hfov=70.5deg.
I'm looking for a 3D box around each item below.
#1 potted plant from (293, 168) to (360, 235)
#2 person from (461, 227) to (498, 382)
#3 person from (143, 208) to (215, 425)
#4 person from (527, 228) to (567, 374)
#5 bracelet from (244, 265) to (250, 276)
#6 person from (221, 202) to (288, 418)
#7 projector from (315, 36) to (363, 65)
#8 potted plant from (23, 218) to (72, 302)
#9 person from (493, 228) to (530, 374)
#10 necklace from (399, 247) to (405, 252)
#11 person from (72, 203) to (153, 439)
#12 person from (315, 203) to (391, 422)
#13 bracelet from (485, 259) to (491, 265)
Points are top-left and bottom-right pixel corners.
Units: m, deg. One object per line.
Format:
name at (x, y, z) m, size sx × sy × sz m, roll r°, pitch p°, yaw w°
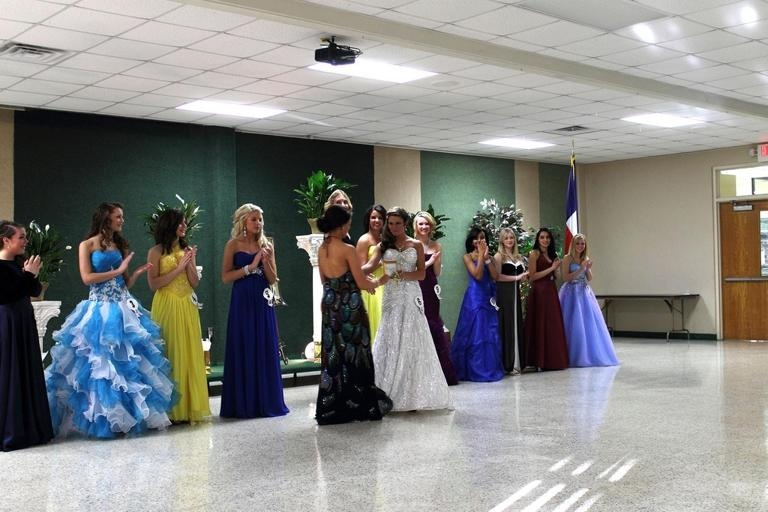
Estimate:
potted plant at (-1.165, -0.844, 9.030) m, size 0.933 × 0.871 × 0.702 m, roll 8°, pitch 1°, yaw -40°
person at (1.476, 0.695, 8.292) m, size 0.579 × 2.269 × 0.848 m, roll -2°, pitch 3°, yaw 11°
person at (-2.262, 0.649, 5.957) m, size 0.520 × 2.353 × 0.458 m, roll -4°, pitch 3°, yaw -29°
person at (2.693, 0.713, 9.096) m, size 0.665 × 2.331 × 0.722 m, roll -1°, pitch 3°, yaw 20°
bracelet at (-1.532, 0.160, 6.059) m, size 0.046 × 0.092 × 0.079 m, roll 3°, pitch 6°, yaw -1°
person at (-1.523, 0.629, 6.164) m, size 0.753 × 2.418 × 0.406 m, roll -3°, pitch 3°, yaw -13°
projector at (-0.558, -2.328, 6.305) m, size 0.375 × 0.205 × 0.317 m, roll 2°, pitch -2°, yaw -9°
potted plant at (-4.607, 0.109, 7.329) m, size 0.621 × 0.875 × 0.823 m, roll 15°, pitch -18°, yaw -40°
person at (2.033, 0.708, 8.714) m, size 0.480 × 2.293 × 0.611 m, roll -2°, pitch 3°, yaw 11°
necklace at (0.196, -0.073, 6.076) m, size 0.044 × 0.036 × 0.045 m, roll 0°, pitch -9°, yaw 16°
person at (-2.756, 0.635, 5.545) m, size 0.948 × 2.359 × 0.677 m, roll -4°, pitch 3°, yaw -22°
person at (-0.403, 0.610, 5.585) m, size 0.682 × 2.252 × 0.258 m, roll -3°, pitch 3°, yaw -8°
bracelet at (1.622, 0.088, 8.469) m, size 0.079 × 0.061 × 0.083 m, roll -2°, pitch -2°, yaw 16°
